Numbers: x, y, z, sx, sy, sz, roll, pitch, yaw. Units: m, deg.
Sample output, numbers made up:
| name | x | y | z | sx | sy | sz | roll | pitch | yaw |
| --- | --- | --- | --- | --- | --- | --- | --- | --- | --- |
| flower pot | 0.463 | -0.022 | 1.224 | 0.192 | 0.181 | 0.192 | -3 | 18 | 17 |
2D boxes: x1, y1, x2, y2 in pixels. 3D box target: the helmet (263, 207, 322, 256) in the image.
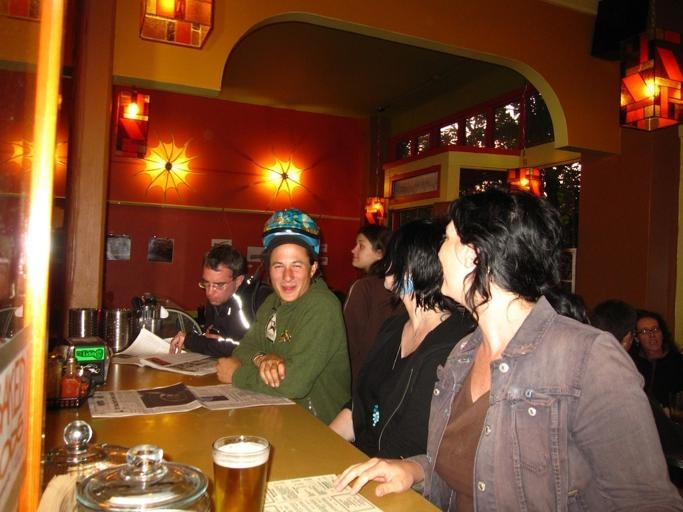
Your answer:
| name | x | y | z | sx | sy | sz | roll | pitch | yaw |
| --- | --- | --- | --- | --- | --- | --- | --- | --- | --- |
| helmet | -0.230 | -0.117 | 2.680 | 0.194 | 0.222 | 0.252 | -4 | -11 | 26 |

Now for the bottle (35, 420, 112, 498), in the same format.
| name | x | y | z | sx | sy | sz | roll | pitch | yaw |
| --- | --- | --- | --- | --- | --- | --- | --- | --- | --- |
| bottle | -0.610 | 0.463 | 1.273 | 0.126 | 0.056 | 0.128 | 1 | 0 | 0 |

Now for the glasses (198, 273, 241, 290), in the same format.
| name | x | y | z | sx | sy | sz | roll | pitch | yaw |
| --- | --- | --- | --- | --- | --- | --- | --- | --- | --- |
| glasses | -0.785 | 0.167 | 3.612 | 0.192 | 0.063 | 0.206 | 1 | 8 | 24 |

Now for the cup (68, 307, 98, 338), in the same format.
| name | x | y | z | sx | sy | sz | roll | pitch | yaw |
| --- | --- | --- | --- | --- | --- | --- | --- | --- | --- |
| cup | -1.327 | 0.346 | 2.838 | 0.153 | 0.180 | 0.158 | 0 | -1 | 0 |

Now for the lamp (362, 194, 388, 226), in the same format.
| name | x | y | z | sx | sy | sz | roll | pitch | yaw |
| --- | --- | --- | --- | --- | --- | --- | --- | --- | --- |
| lamp | 0.572 | -0.688 | 8.429 | 0.394 | 0.530 | 0.394 | 6 | 9 | 35 |

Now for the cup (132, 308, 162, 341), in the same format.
| name | x | y | z | sx | sy | sz | roll | pitch | yaw |
| --- | --- | --- | --- | --- | --- | --- | --- | --- | --- |
| cup | -1.118 | 0.403 | 3.191 | 0.152 | 0.180 | 0.157 | -1 | -4 | 0 |
